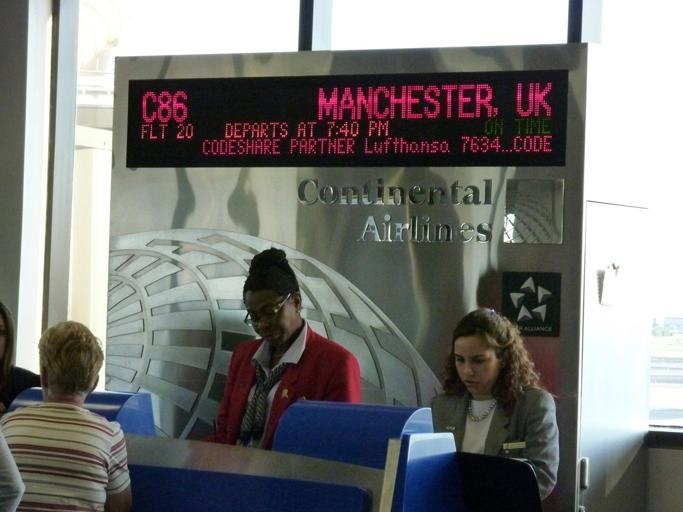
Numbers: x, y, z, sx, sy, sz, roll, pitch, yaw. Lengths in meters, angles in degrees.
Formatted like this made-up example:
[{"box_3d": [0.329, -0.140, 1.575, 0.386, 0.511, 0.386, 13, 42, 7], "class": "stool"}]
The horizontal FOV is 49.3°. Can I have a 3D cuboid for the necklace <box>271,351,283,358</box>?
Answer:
[{"box_3d": [-0.307, 0.467, 3.509, 0.034, 0.052, 0.037, 1, -8, 8], "class": "necklace"}]

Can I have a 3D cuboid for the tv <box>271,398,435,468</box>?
[{"box_3d": [-0.004, 0.544, 2.279, 0.419, 0.170, 0.060, 2, -4, 16], "class": "tv"}]

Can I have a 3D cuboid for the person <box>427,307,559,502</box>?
[{"box_3d": [0.661, 0.618, 3.242, 0.548, 0.760, 0.316, 1, -4, 18], "class": "person"}]
